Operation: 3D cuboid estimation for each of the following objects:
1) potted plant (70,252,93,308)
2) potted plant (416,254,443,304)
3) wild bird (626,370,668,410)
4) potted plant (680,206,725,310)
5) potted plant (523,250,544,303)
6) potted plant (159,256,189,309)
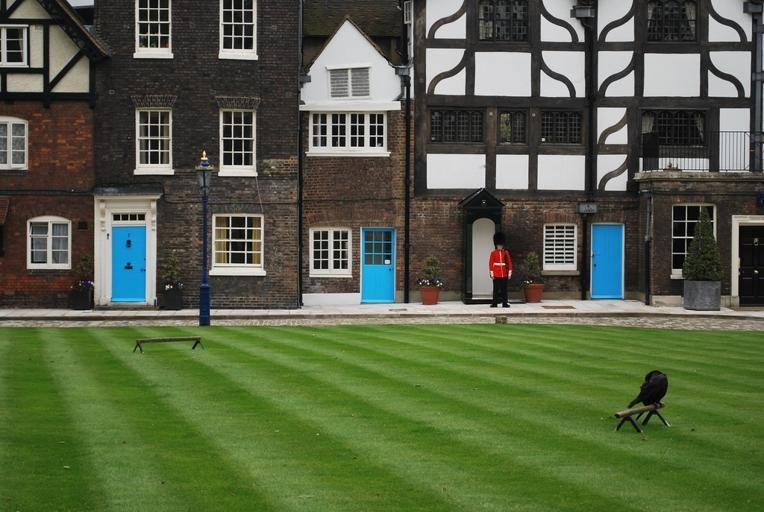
[{"bbox_3d":[-10.466,0.960,42.889,0.731,1.886,0.593,1,-4,-11],"label":"potted plant"},{"bbox_3d":[1.613,0.910,45.303,1.187,1.817,1.140,8,-13,-38],"label":"potted plant"},{"bbox_3d":[6.270,3.160,29.069,0.822,0.886,0.677,0,-4,9],"label":"wild bird"},{"bbox_3d":[11.105,0.173,42.788,1.285,3.500,0.578,-1,-4,13],"label":"potted plant"},{"bbox_3d":[5.557,0.804,45.369,0.765,1.875,0.863,0,-4,7],"label":"potted plant"},{"bbox_3d":[-7.395,0.906,43.147,0.841,2.017,0.685,1,-4,-8],"label":"potted plant"}]
